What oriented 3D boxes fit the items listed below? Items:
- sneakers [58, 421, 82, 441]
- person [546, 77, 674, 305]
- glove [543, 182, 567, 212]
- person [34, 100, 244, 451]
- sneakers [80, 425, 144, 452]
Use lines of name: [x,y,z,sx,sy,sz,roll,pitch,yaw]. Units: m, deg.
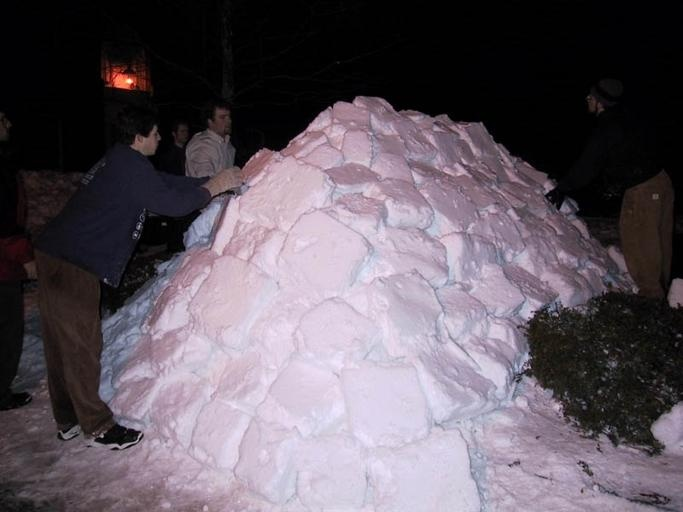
sneakers: [-2.151,1.396,4.576,0.117,0.114,0.163,-3,-1,-43]
person: [2.905,-0.726,5.836,1.359,1.927,0.490,19,22,21]
glove: [2.309,-0.659,6.249,0.341,0.140,0.112,-36,31,-27]
person: [-1.794,0.142,4.568,0.992,2.559,1.020,24,24,33]
sneakers: [-1.764,1.416,4.465,0.407,0.209,0.176,-4,8,-1]
